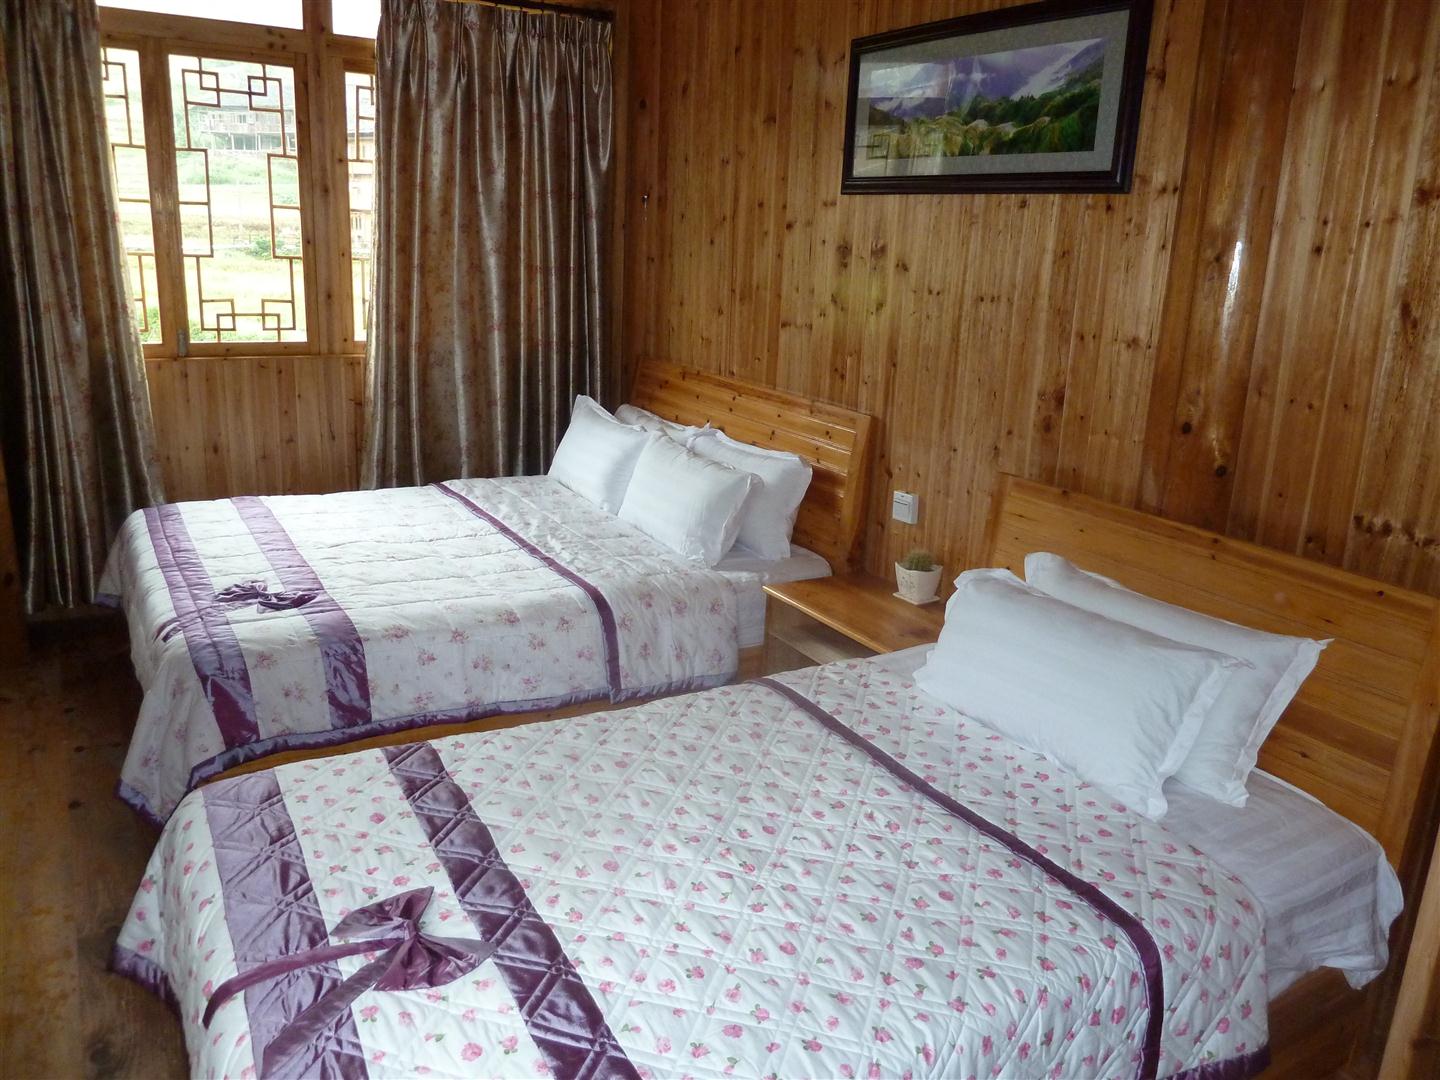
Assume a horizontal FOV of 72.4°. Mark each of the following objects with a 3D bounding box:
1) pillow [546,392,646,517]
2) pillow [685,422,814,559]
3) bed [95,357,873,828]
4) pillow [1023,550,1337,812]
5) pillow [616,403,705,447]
[{"bbox_3d":[-0.589,-0.384,4.638,0.173,0.426,0.601,13,8,-33],"label":"pillow"},{"bbox_3d":[0.133,-0.176,3.994,0.478,0.472,0.142,15,-9,41],"label":"pillow"},{"bbox_3d":[-0.886,0.165,3.643,2.103,0.952,1.806,-5,23,-28],"label":"bed"},{"bbox_3d":[1.245,0.391,2.530,0.646,0.532,0.176,28,5,43],"label":"pillow"},{"bbox_3d":[-0.307,-0.557,4.748,0.078,0.228,0.547,-16,16,-37],"label":"pillow"}]
